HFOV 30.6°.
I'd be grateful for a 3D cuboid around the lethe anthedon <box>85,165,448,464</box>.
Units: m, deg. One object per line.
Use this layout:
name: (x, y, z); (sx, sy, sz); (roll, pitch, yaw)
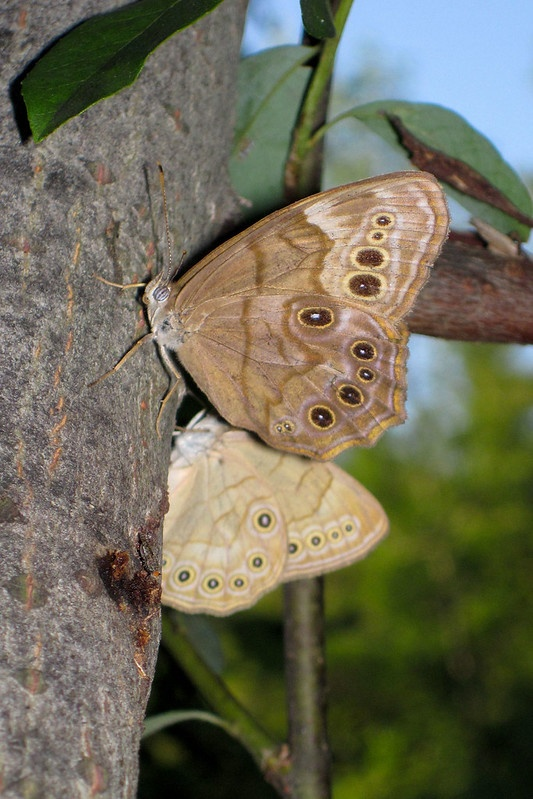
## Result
lethe anthedon: (0.173, -0.204, 2.121); (0.737, 0.656, 0.472); (-27, 40, 50)
